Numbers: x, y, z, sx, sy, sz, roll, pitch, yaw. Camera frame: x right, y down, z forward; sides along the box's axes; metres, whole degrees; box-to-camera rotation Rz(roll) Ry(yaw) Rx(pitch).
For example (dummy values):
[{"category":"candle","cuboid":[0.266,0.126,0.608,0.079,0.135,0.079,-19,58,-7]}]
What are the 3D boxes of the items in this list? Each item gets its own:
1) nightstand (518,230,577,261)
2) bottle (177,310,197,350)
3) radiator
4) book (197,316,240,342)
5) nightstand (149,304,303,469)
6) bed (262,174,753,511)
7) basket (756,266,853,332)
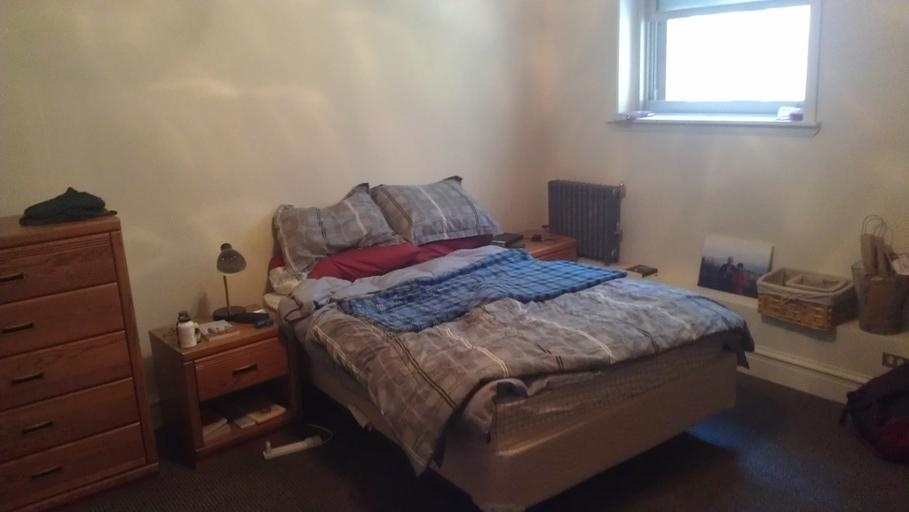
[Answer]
[{"category":"nightstand","cuboid":[0.797,-0.095,5.246,0.418,0.190,0.314,-20,26,-41]},{"category":"bottle","cuboid":[-1.760,0.480,3.887,0.123,0.210,0.161,-7,19,-9]},{"category":"radiator","cuboid":[1.210,-0.294,5.317,0.690,0.642,0.248,15,25,40]},{"category":"book","cuboid":[-1.616,0.501,4.054,0.175,0.037,0.167,-8,15,-41]},{"category":"nightstand","cuboid":[-1.635,0.915,4.209,0.634,0.713,0.815,9,13,40]},{"category":"bed","cuboid":[-0.007,0.225,3.765,2.138,0.962,2.400,-18,25,-36]},{"category":"basket","cuboid":[2.566,0.324,4.395,0.446,0.274,0.549,-10,13,-42]}]
